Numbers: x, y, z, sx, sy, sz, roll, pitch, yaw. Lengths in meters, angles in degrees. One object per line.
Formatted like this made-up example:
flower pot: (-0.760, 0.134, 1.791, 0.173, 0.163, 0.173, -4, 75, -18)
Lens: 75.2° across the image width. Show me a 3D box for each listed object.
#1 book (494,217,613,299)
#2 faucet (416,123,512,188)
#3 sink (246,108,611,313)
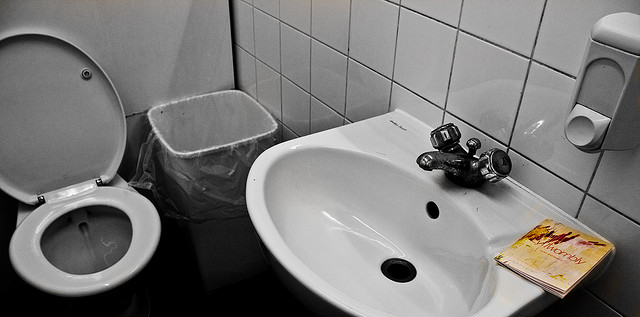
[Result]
book: (0.763, 0.306, 1.357, 0.283, 0.036, 0.247, -34, 34, -25)
faucet: (0.527, 0.039, 1.534, 0.272, 0.118, 0.269, -32, 58, -27)
sink: (0.263, 0.228, 1.468, 0.790, 0.442, 0.976, -33, 48, -31)
